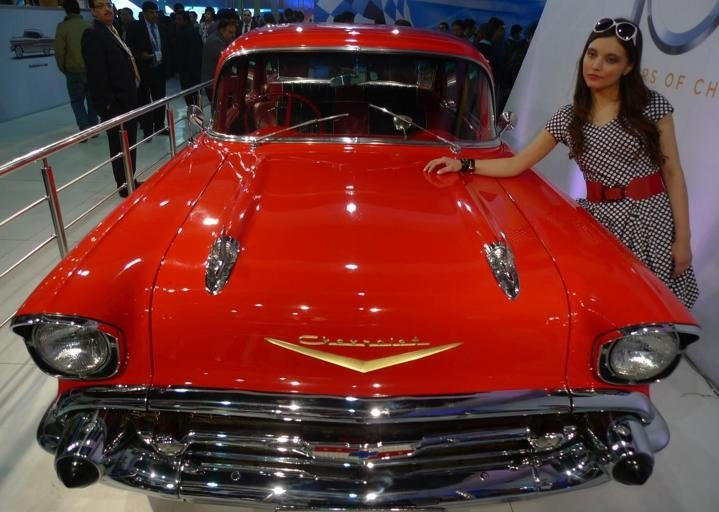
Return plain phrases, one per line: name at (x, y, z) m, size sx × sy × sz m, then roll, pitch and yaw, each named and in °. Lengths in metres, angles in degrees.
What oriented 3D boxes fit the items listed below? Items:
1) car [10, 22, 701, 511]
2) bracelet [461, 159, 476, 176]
car at (-0.110, -0.251, 3.338) m, size 2.196 × 1.654 × 3.741 m, roll 1°, pitch 32°, yaw 0°
bracelet at (0.612, -0.510, 2.585) m, size 0.061 × 0.090 × 0.093 m, roll 5°, pitch -15°, yaw 6°
